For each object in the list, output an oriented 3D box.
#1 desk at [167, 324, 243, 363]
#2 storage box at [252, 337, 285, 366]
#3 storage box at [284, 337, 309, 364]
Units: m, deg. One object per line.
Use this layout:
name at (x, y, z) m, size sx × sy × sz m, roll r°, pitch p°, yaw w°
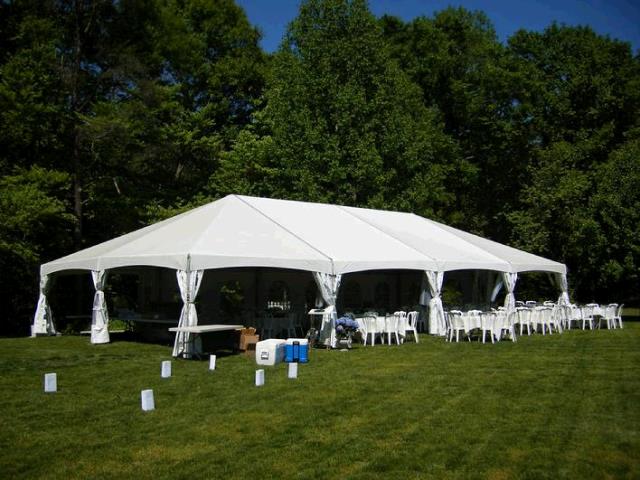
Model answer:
desk at (-2.841, 2.722, 18.479) m, size 0.882 × 0.517 × 2.082 m, roll 19°, pitch 2°, yaw 13°
storage box at (-1.282, 2.845, 16.956) m, size 0.510 × 0.520 × 0.859 m, roll -1°, pitch -2°, yaw 11°
storage box at (-0.611, 2.872, 17.280) m, size 0.542 × 0.513 × 0.564 m, roll -1°, pitch -3°, yaw 5°
